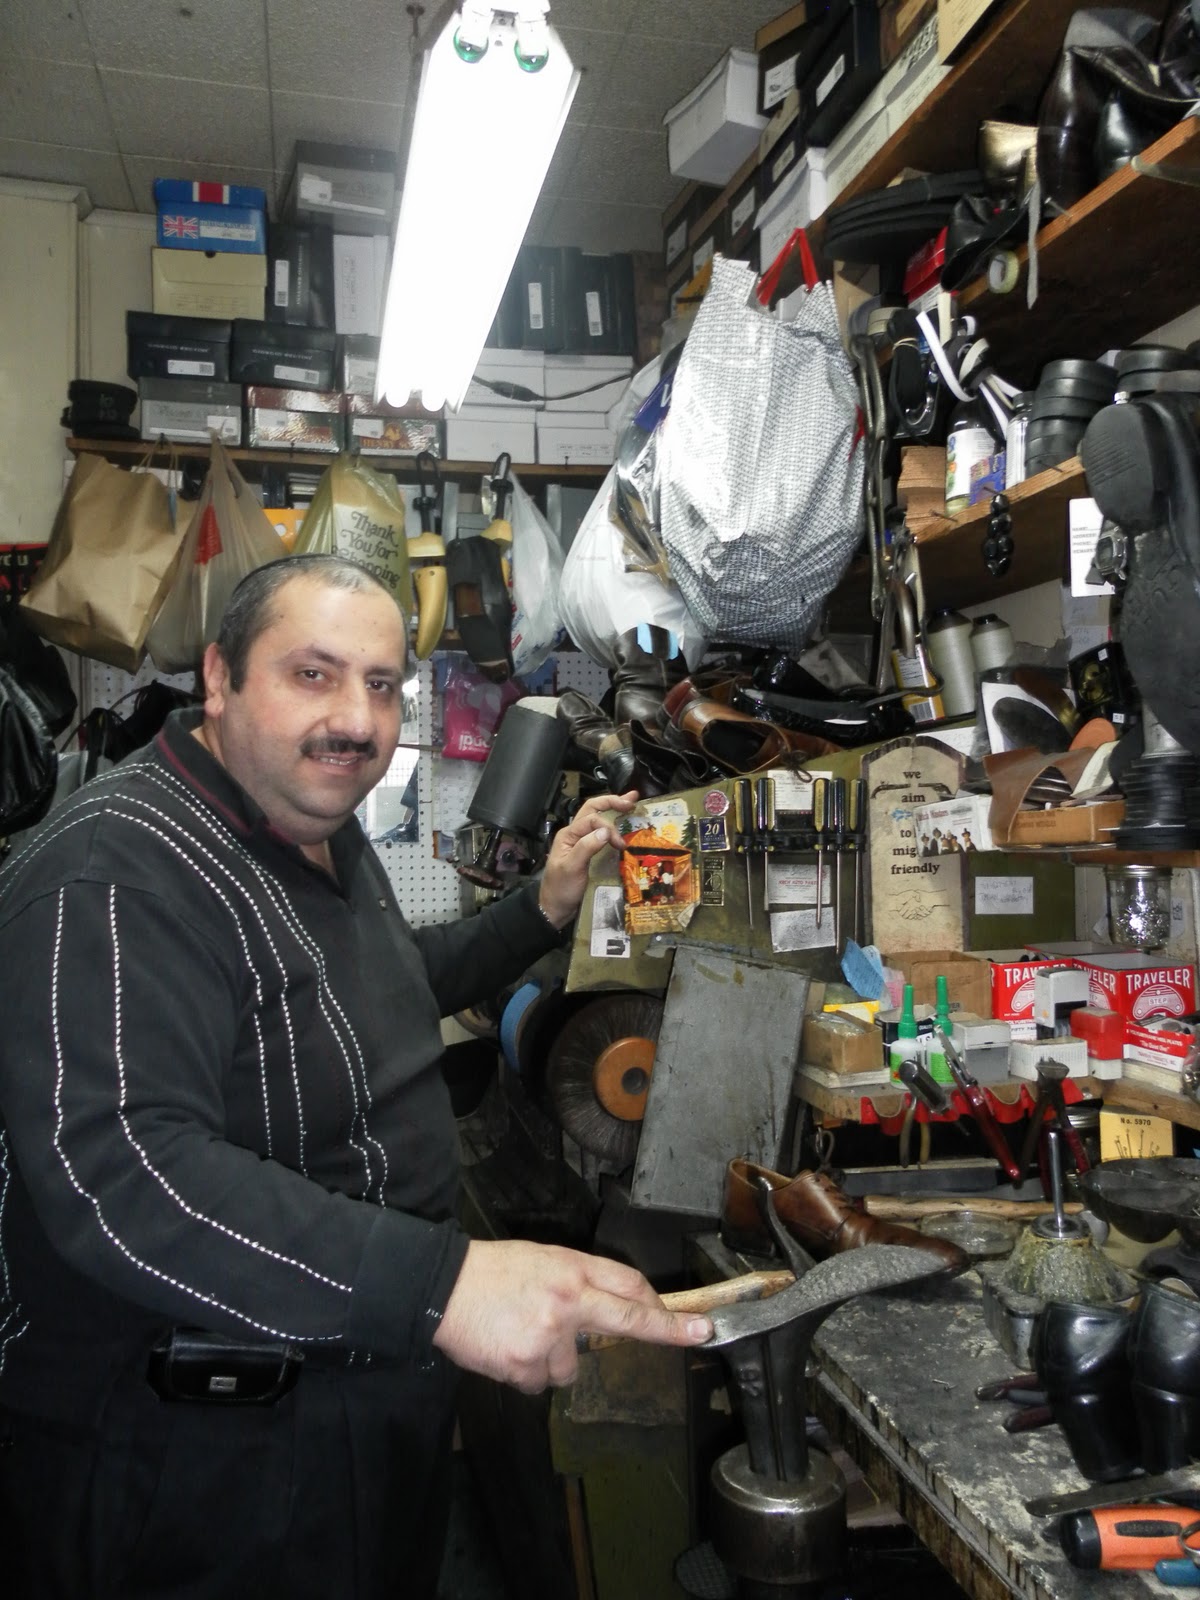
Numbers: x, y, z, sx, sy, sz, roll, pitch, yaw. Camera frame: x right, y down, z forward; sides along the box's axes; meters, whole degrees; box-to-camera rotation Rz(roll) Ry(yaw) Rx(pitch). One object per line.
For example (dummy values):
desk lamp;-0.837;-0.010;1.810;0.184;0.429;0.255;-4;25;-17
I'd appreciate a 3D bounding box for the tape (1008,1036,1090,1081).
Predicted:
tape;0.578;0.336;1.596;0.089;0.052;0.057;2;1;-22

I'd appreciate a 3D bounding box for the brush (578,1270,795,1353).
brush;0.115;0.472;1.190;0.056;0.044;0.212;-10;-2;37

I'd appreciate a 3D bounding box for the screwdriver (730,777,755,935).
screwdriver;0.206;0.080;1.819;0.040;0.191;0.035;-1;9;-4

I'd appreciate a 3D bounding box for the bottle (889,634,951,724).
bottle;0.483;-0.174;1.865;0.027;0.114;0.085;-7;32;26

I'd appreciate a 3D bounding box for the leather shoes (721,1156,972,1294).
leather shoes;0.246;0.479;1.437;0.358;0.119;0.118;-1;3;42

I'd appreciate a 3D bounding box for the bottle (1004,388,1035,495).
bottle;0.549;-0.477;1.630;0.030;0.131;0.136;2;1;17

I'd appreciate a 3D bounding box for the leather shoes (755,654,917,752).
leather shoes;0.372;-0.155;2.015;0.287;0.126;0.256;3;2;22

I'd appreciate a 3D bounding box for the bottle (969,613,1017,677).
bottle;0.597;-0.239;1.880;0.063;0.089;0.050;2;1;17

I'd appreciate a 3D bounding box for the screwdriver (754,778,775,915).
screwdriver;0.241;0.074;1.801;0.025;0.176;0.026;-10;-14;23

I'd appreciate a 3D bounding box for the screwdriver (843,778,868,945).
screwdriver;0.379;0.101;1.846;0.045;0.224;0.037;-1;7;5

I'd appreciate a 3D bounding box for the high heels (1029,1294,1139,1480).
high heels;0.365;0.456;0.948;0.055;0.061;0.155;-5;-4;13

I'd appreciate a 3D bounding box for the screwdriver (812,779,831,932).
screwdriver;0.328;0.091;1.848;0.030;0.211;0.032;0;-1;0

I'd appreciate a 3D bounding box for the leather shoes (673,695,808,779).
leather shoes;0.221;-0.100;1.983;0.172;0.099;0.068;34;22;16
